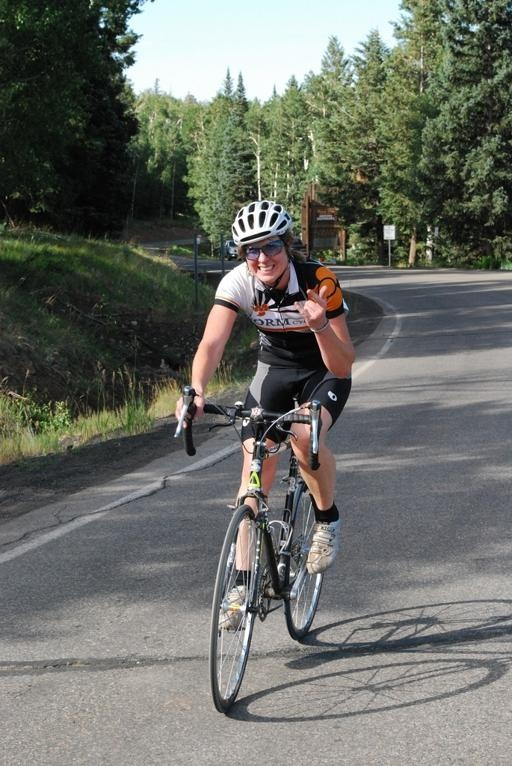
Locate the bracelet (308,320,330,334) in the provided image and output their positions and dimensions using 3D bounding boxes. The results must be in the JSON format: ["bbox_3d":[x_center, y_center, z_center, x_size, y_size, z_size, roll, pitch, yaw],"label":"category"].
[{"bbox_3d":[0.244,-0.213,3.217,0.065,0.058,0.144,-2,6,4],"label":"bracelet"}]

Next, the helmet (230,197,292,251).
[{"bbox_3d":[0.021,-0.662,3.473,0.231,0.203,0.320,-2,6,2],"label":"helmet"}]

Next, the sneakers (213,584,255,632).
[{"bbox_3d":[-0.090,0.844,3.159,0.041,0.097,0.167,-1,-33,-22],"label":"sneakers"}]

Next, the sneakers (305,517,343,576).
[{"bbox_3d":[0.300,0.730,3.762,0.096,0.129,0.291,0,25,18],"label":"sneakers"}]
